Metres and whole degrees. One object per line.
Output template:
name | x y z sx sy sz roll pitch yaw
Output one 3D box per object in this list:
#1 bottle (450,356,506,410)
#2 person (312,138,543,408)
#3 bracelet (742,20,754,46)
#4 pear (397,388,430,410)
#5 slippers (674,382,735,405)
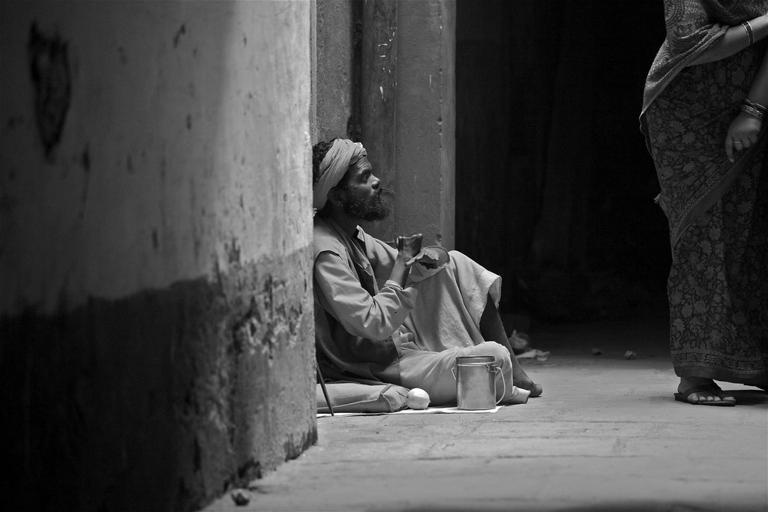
bottle | 0.453 0.602 3.960 0.210 0.230 0.235 2 -6 -20
person | 0.150 0.087 4.401 1.195 1.545 0.909 -9 12 -9
bracelet | 1.750 -1.071 3.950 0.045 0.116 0.048 0 3 21
pear | 0.175 0.707 4.069 0.101 0.093 0.085 1 -18 -5
slippers | 1.553 0.676 3.991 0.193 0.075 0.111 -5 -2 40
